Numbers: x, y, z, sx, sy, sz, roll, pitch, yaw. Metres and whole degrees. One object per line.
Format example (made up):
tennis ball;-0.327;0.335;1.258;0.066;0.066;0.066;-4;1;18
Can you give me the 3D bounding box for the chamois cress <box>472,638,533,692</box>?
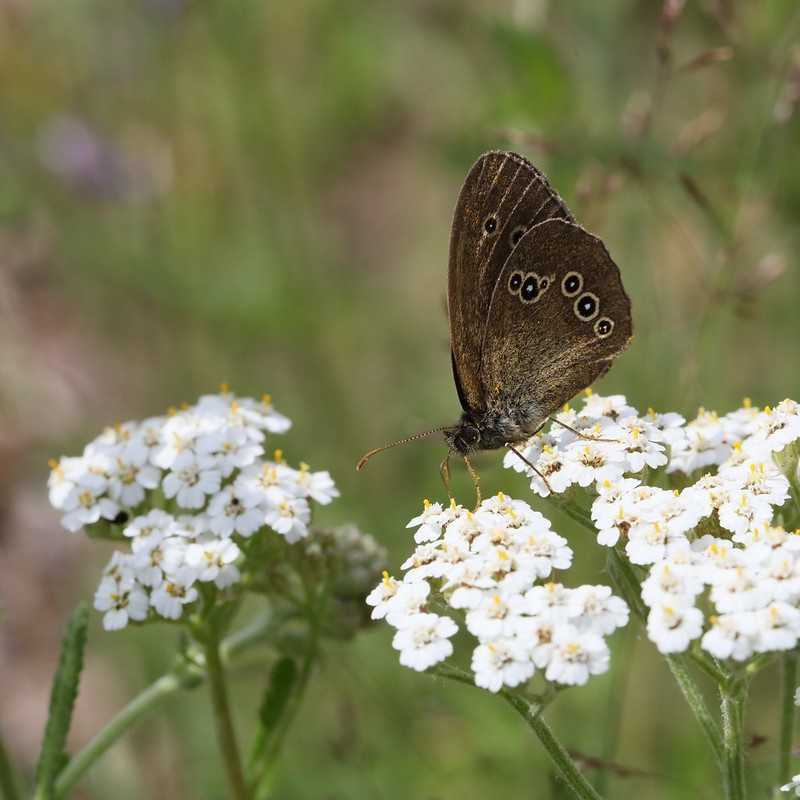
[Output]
chamois cress;0.375;0.971;3.966;0.182;0.186;0.098;12;-32;24
